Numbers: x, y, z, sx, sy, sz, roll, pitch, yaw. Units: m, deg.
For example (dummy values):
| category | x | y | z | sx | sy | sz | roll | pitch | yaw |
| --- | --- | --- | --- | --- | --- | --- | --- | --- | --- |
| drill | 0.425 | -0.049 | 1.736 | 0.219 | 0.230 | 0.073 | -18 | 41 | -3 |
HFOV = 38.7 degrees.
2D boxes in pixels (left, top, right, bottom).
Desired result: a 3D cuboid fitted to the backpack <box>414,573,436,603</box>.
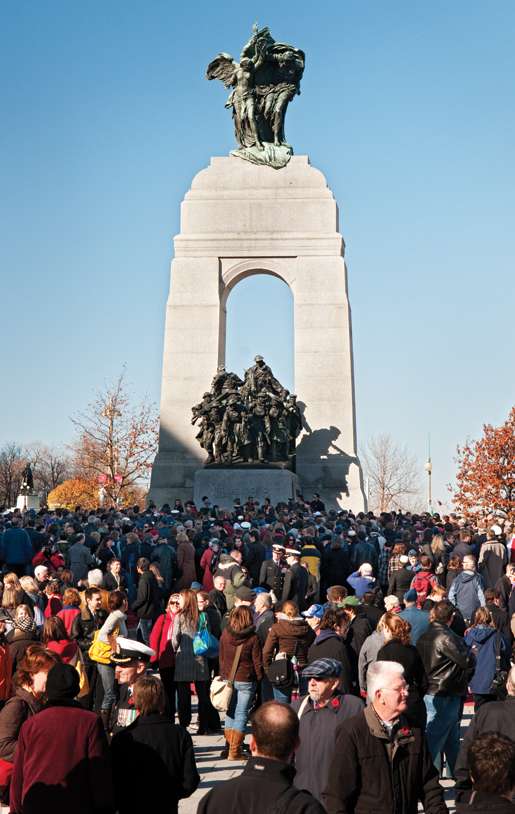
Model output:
| category | x | y | z | sx | sy | sz | roll | pitch | yaw |
| --- | --- | --- | --- | --- | --- | --- | --- | --- | --- |
| backpack | 2.297 | 2.550 | 10.303 | 0.269 | 0.433 | 0.321 | -1 | -13 | 11 |

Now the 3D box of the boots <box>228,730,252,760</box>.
| category | x | y | z | sx | sy | sz | roll | pitch | yaw |
| --- | --- | --- | --- | --- | --- | --- | --- | --- | --- |
| boots | -0.195 | 3.280 | 7.067 | 0.186 | 0.302 | 0.230 | 2 | -13 | 0 |

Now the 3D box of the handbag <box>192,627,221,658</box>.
| category | x | y | z | sx | sy | sz | roll | pitch | yaw |
| --- | --- | --- | --- | --- | --- | --- | --- | --- | --- |
| handbag | -0.523 | 2.405 | 7.467 | 0.263 | 0.259 | 0.172 | 3 | -13 | -8 |

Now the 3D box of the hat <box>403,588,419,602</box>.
| category | x | y | z | sx | sy | sz | roll | pitch | yaw |
| --- | --- | --- | --- | --- | --- | --- | --- | --- | --- |
| hat | 1.497 | 1.866 | 7.194 | 0.103 | 0.116 | 0.178 | 1 | -13 | 2 |

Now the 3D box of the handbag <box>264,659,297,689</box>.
| category | x | y | z | sx | sy | sz | roll | pitch | yaw |
| --- | --- | --- | --- | --- | --- | --- | --- | --- | --- |
| handbag | 0.194 | 2.263 | 6.201 | 0.208 | 0.266 | 0.456 | 2 | -13 | 0 |

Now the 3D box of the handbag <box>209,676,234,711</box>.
| category | x | y | z | sx | sy | sz | roll | pitch | yaw |
| --- | --- | --- | --- | --- | --- | --- | --- | --- | --- |
| handbag | -0.340 | 2.760 | 6.996 | 0.208 | 0.342 | 0.289 | 4 | -13 | -10 |

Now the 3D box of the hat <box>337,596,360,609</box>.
| category | x | y | z | sx | sy | sz | roll | pitch | yaw |
| --- | --- | --- | --- | --- | --- | --- | --- | --- | --- |
| hat | 0.951 | 2.021 | 7.585 | 0.212 | 0.098 | 0.137 | 9 | -6 | 26 |

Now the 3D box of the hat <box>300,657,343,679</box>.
| category | x | y | z | sx | sy | sz | roll | pitch | yaw |
| --- | --- | --- | --- | --- | --- | --- | --- | --- | --- |
| hat | 0.335 | 1.371 | 3.812 | 0.180 | 0.123 | 0.232 | 1 | -13 | 4 |
